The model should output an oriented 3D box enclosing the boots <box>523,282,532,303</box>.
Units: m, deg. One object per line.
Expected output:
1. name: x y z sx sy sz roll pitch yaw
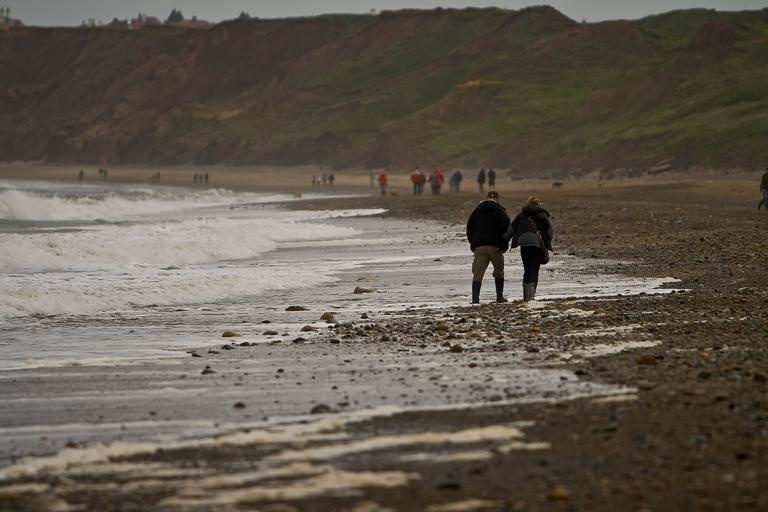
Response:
1. boots: 12.534 3.026 116.231 0.814 1.423 0.421 2 10 5
